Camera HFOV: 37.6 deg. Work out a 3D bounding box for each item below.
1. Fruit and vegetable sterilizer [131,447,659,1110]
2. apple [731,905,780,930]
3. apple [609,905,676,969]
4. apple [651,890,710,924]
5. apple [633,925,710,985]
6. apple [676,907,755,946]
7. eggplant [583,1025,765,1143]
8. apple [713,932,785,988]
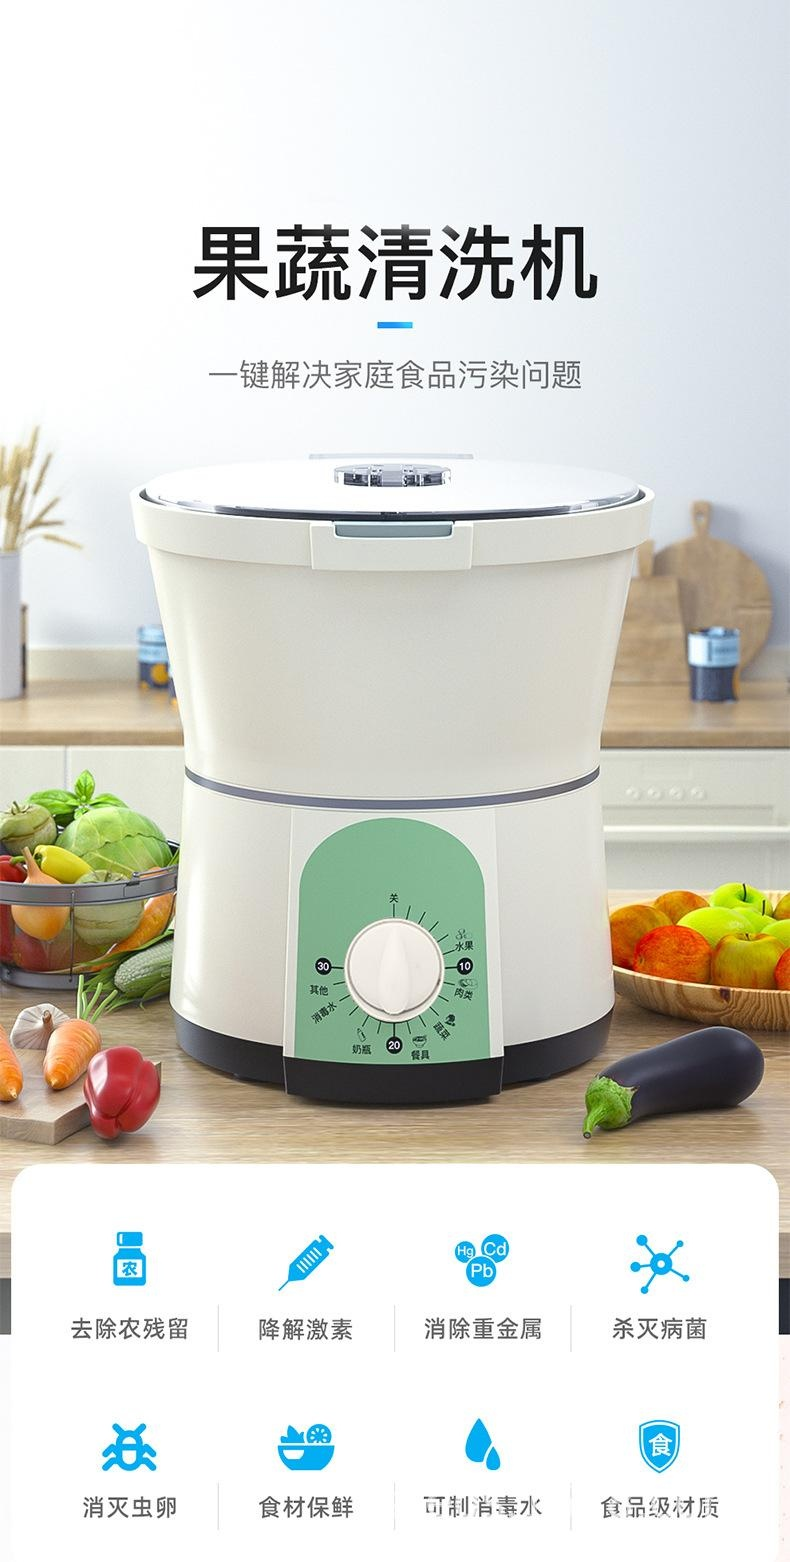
[{"bbox_3d":[0.006,-0.015,0.729,0.262,0.351,0.311,0,5,-1],"label":"Fruit and vegetable sterilizer"},{"bbox_3d":[0.242,0.087,0.783,0.018,0.020,0.019,4,2,1],"label":"apple"},{"bbox_3d":[0.162,0.097,0.779,0.036,0.043,0.048,-2,27,0],"label":"apple"},{"bbox_3d":[0.204,0.087,0.839,0.022,0.018,0.029,-1,0,2],"label":"apple"},{"bbox_3d":[0.177,0.110,0.732,0.035,0.042,0.035,-25,23,-19],"label":"apple"},{"bbox_3d":[0.212,0.093,0.761,0.029,0.033,0.030,-6,9,-30],"label":"apple"},{"bbox_3d":[0.140,0.147,0.606,0.089,0.043,0.048,-10,54,-11],"label":"eggplant"},{"bbox_3d":[0.217,0.113,0.711,0.029,0.036,0.032,5,2,10],"label":"apple"}]
